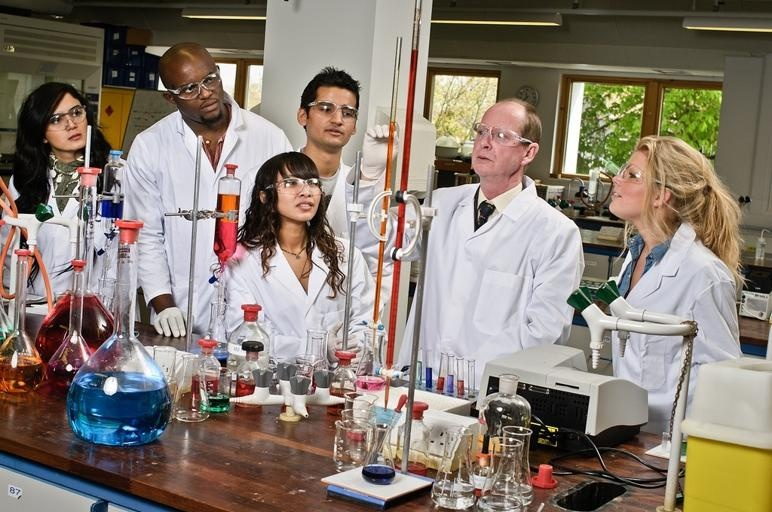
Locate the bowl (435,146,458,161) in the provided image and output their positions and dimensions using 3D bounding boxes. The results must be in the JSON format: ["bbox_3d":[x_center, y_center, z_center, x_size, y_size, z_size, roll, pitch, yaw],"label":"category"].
[{"bbox_3d":[0.836,-1.350,8.509,0.364,0.185,0.374,1,3,0],"label":"bowl"}]

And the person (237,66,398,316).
[{"bbox_3d":[-0.256,-0.080,4.101,0.824,2.196,0.590,-4,16,6],"label":"person"}]

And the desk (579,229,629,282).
[{"bbox_3d":[1.758,0.006,5.058,0.332,0.332,0.342,7,35,8],"label":"desk"}]

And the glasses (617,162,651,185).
[{"bbox_3d":[1.037,-0.345,2.580,0.086,0.027,0.086,25,-4,-19],"label":"glasses"}]

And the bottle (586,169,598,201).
[{"bbox_3d":[2.745,-0.936,8.285,0.113,0.274,0.496,6,4,19],"label":"bottle"}]

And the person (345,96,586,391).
[{"bbox_3d":[0.403,0.105,3.009,0.937,1.539,0.777,9,15,17],"label":"person"}]

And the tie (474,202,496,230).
[{"bbox_3d":[0.458,-0.197,2.913,0.076,0.133,0.030,18,-4,29],"label":"tie"}]
